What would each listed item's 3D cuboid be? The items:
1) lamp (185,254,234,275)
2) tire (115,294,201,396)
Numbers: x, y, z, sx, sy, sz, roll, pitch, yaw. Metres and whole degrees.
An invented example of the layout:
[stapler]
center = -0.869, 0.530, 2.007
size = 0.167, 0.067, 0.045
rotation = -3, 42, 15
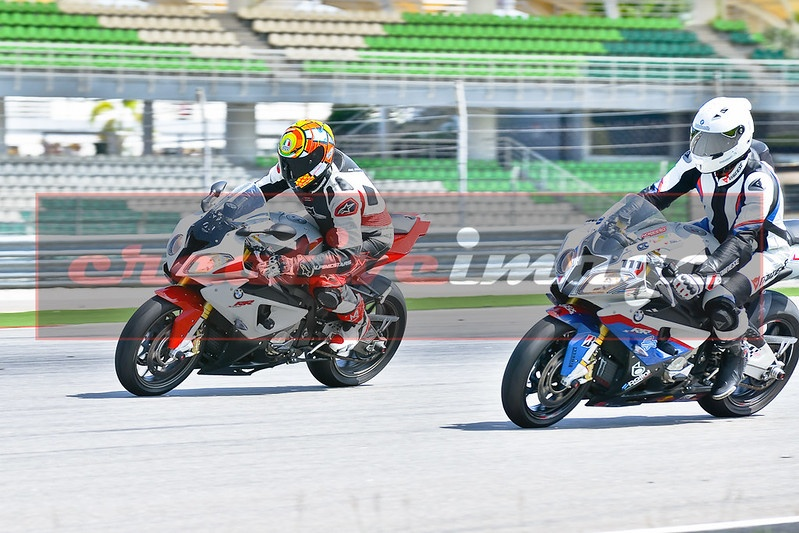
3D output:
[lamp]
center = -1.600, -0.013, 7.678
size = 0.404, 0.186, 0.080
rotation = -1, 17, -9
[tire]
center = -2.055, 0.691, 7.662
size = 0.610, 0.883, 0.265
rotation = -10, 21, -34
